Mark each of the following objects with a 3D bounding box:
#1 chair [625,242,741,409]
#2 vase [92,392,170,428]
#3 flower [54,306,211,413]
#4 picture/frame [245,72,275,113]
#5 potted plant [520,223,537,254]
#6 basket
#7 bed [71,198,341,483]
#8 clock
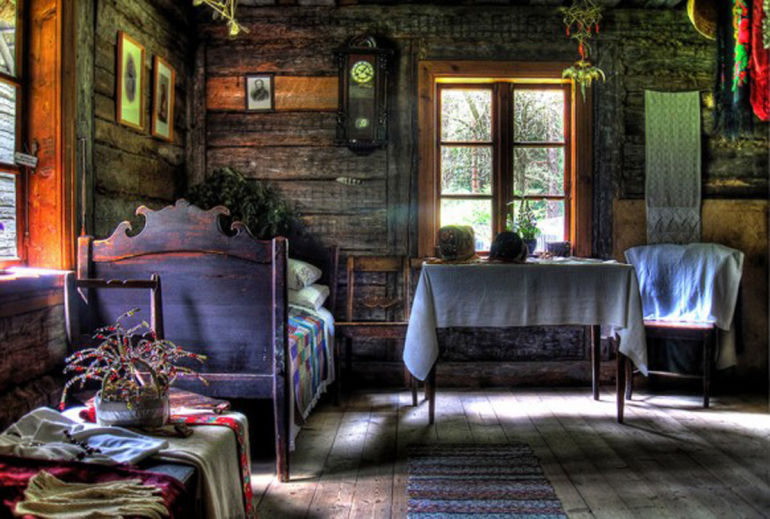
[{"bbox_3d":[2.383,0.488,5.064,0.844,1.241,0.628,6,13,30],"label":"chair"},{"bbox_3d":[-1.162,0.673,2.854,0.225,0.087,0.170,1,-5,-6],"label":"vase"},{"bbox_3d":[-1.347,0.450,3.141,0.716,0.206,0.743,-7,20,-44],"label":"flower"},{"bbox_3d":[-1.062,-1.449,5.364,0.338,0.392,0.043,0,2,0],"label":"picture/frame"},{"bbox_3d":[1.142,-0.162,4.929,0.124,0.248,0.233,2,11,12],"label":"potted plant"},{"bbox_3d":[-1.171,0.631,3.009,0.316,0.306,0.318,1,-9,-7],"label":"basket"},{"bbox_3d":[-1.064,0.380,4.363,1.182,1.381,1.602,-1,-5,1],"label":"bed"},{"bbox_3d":[-0.162,-1.396,5.327,0.475,0.987,0.283,0,11,0],"label":"clock"}]
